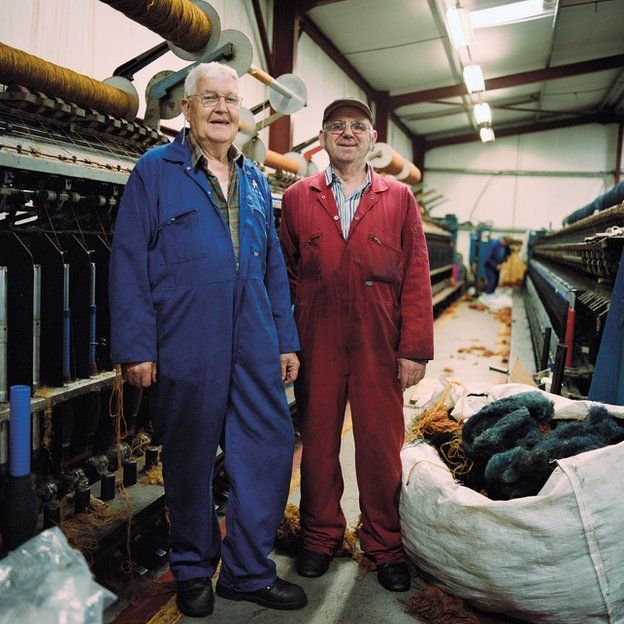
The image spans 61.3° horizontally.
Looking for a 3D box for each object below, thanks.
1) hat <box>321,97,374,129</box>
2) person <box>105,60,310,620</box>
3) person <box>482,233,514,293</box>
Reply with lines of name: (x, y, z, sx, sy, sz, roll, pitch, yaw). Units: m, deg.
hat: (0.132, -0.740, 1.913, 0.181, 0.116, 0.150, -2, 6, -13)
person: (-0.314, 0.091, 1.672, 0.574, 1.717, 0.302, -2, 6, -12)
person: (4.238, -1.102, 12.126, 0.650, 1.202, 1.686, 1, 6, 18)
